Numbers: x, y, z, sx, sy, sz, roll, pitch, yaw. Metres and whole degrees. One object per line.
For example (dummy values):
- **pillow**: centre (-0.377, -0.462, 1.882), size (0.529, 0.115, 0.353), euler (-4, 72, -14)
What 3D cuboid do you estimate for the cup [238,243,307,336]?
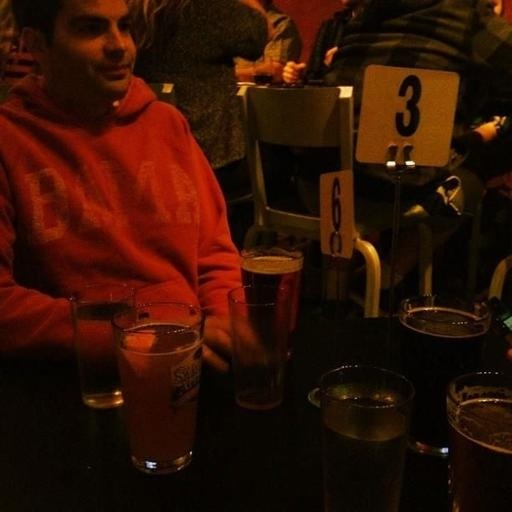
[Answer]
- **cup**: centre (0.024, 0.057, 0.804), size (0.082, 0.129, 0.082), euler (0, 10, 0)

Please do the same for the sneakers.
- **sneakers**: centre (0.449, 0.141, 1.962), size (0.148, 0.191, 0.145), euler (-13, 32, -19)

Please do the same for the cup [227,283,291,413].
- **cup**: centre (0.000, 0.124, 0.690), size (0.090, 0.149, 0.091), euler (-1, -8, 0)

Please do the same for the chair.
- **chair**: centre (0.144, -0.126, 1.632), size (0.564, 0.771, 0.589), euler (-4, 13, -30)
